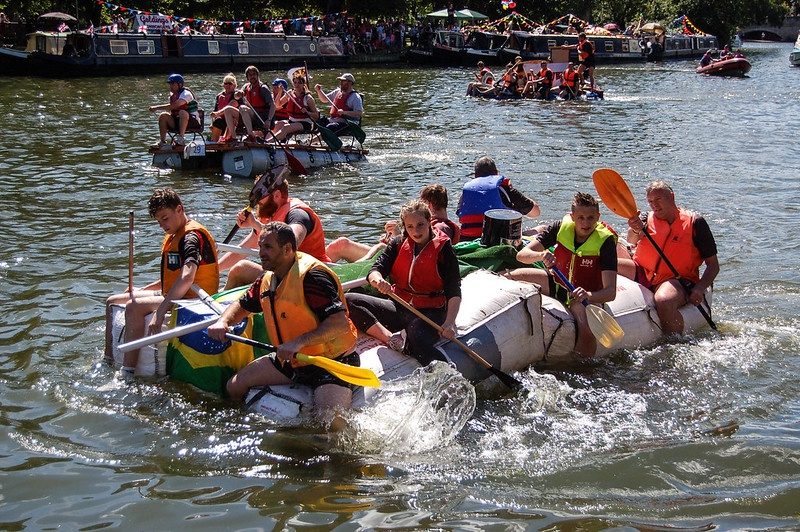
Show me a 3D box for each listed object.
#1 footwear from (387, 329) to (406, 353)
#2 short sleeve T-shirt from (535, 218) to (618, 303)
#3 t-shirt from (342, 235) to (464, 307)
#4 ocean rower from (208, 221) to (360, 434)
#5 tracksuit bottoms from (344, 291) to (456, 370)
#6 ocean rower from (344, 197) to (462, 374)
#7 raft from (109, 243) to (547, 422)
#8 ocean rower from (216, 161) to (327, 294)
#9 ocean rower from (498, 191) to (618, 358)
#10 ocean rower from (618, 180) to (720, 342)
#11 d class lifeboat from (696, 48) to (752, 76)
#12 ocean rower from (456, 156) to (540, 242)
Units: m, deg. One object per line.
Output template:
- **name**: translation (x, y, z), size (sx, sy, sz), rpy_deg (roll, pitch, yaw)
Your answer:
- **footwear**: translation (-0.031, 0.950, 12.038), size (0.138, 0.121, 0.322), rpy_deg (-12, 49, -12)
- **short sleeve T-shirt**: translation (2.379, -0.083, 13.141), size (1.067, 1.026, 0.539), rpy_deg (11, 22, 19)
- **t-shirt**: translation (0.266, -0.007, 12.331), size (1.204, 0.939, 0.626), rpy_deg (9, 17, 31)
- **ocean rower**: translation (-1.256, 0.819, 11.759), size (1.622, 2.639, 1.637), rpy_deg (5, 12, 30)
- **tracksuit bottoms**: translation (0.004, 0.829, 12.351), size (0.964, 0.362, 0.975), rpy_deg (37, 28, 33)
- **ocean rower**: translation (0.094, 0.189, 12.052), size (1.315, 1.980, 0.604), rpy_deg (3, 12, 5)
- **raft**: translation (-0.237, 0.994, 12.128), size (2.823, 0.866, 2.863), rpy_deg (6, 11, 38)
- **ocean rower**: translation (-1.643, -0.537, 13.067), size (1.745, 2.142, 1.276), rpy_deg (-4, 14, -21)
- **ocean rower**: translation (2.090, 0.127, 13.118), size (1.654, 2.315, 1.429), rpy_deg (11, 21, 8)
- **ocean rower**: translation (3.609, 0.037, 13.780), size (1.692, 2.253, 1.191), rpy_deg (5, 5, 25)
- **d class lifeboat**: translation (14.040, -9.088, 42.666), size (1.654, 1.381, 3.523), rpy_deg (-2, 5, 0)
- **ocean rower**: translation (1.397, -0.931, 14.653), size (1.204, 1.376, 1.651), rpy_deg (0, 10, 23)
